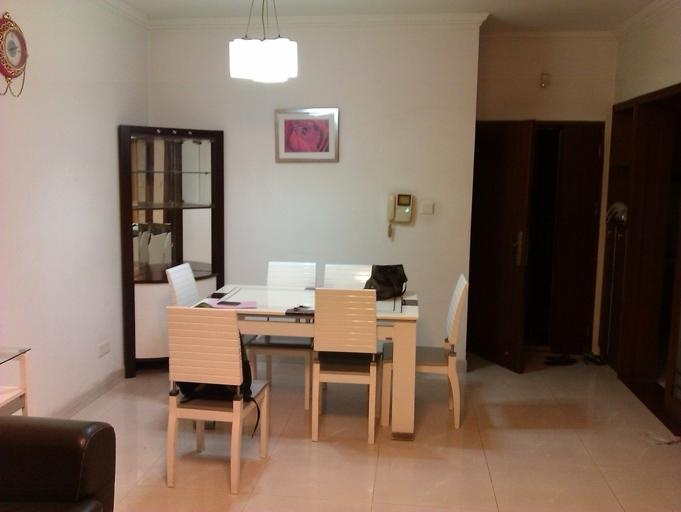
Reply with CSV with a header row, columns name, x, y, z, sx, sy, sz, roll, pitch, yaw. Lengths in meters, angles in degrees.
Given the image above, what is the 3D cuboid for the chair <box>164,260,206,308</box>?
name,x,y,z,sx,sy,sz,roll,pitch,yaw
chair,-1.357,0.251,4.653,0.214,0.358,0.449,-2,12,-10

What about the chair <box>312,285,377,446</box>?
name,x,y,z,sx,sy,sz,roll,pitch,yaw
chair,0.038,0.776,4.140,0.533,1.193,0.463,1,12,4

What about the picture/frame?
name,x,y,z,sx,sy,sz,roll,pitch,yaw
picture/frame,-0.300,-1.223,5.344,0.505,0.486,0.034,1,3,3

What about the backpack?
name,x,y,z,sx,sy,sz,roll,pitch,yaw
backpack,-0.773,0.705,3.771,0.368,0.633,0.492,1,7,8

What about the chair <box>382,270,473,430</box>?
name,x,y,z,sx,sy,sz,roll,pitch,yaw
chair,0.720,0.710,4.625,0.649,1.154,1.256,3,12,12

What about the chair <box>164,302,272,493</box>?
name,x,y,z,sx,sy,sz,roll,pitch,yaw
chair,-0.848,0.880,3.614,0.678,1.182,0.565,0,12,-3

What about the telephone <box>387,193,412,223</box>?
name,x,y,z,sx,sy,sz,roll,pitch,yaw
telephone,0.589,-0.479,5.292,0.226,0.277,0.060,3,7,9
